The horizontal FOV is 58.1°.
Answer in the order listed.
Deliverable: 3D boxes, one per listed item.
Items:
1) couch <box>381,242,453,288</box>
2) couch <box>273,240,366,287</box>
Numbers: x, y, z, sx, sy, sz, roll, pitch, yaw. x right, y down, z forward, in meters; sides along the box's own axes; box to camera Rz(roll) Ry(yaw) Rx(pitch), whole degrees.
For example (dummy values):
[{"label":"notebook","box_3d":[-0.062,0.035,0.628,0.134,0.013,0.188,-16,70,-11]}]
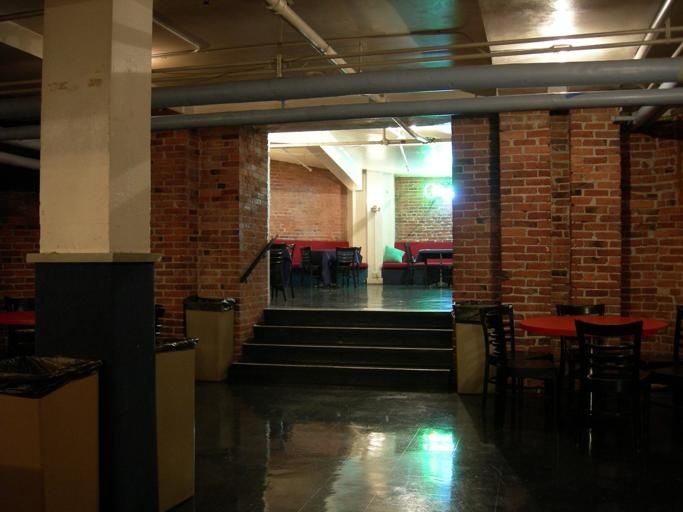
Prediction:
[{"label":"couch","box_3d":[2.038,0.131,15.306,1.818,0.853,0.914,-1,15,28]},{"label":"couch","box_3d":[-0.484,0.140,14.315,2.285,0.891,0.908,0,11,-42]}]
